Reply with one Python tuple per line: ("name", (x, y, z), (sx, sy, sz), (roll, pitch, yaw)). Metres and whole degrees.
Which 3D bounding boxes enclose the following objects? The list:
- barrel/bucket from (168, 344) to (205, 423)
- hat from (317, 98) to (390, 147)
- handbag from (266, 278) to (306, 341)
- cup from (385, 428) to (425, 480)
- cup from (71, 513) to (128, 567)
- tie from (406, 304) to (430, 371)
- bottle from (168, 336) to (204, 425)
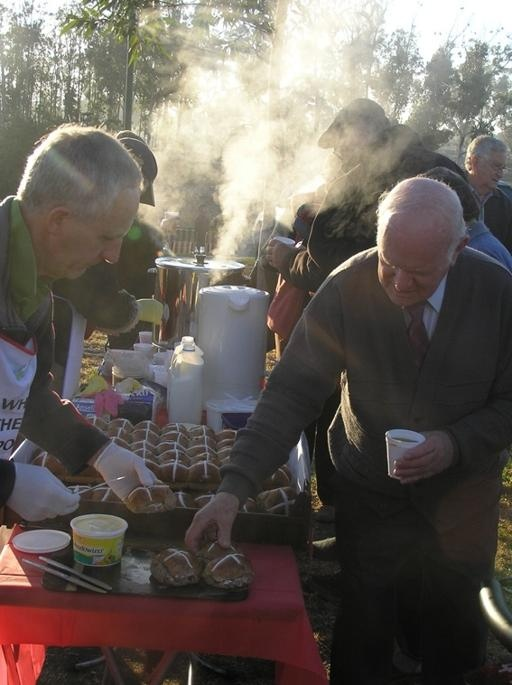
("barrel/bucket", (-0.312, 0.181, 2.548), (0.134, 0.373, 0.131), (1, 6, 0))
("hat", (0.491, -1.101, 2.858), (0.371, 0.132, 0.268), (-28, 36, 13))
("handbag", (0.180, -0.234, 3.936), (0.230, 0.426, 0.235), (-4, 17, -18))
("cup", (0.404, 0.286, 1.614), (0.133, 0.138, 0.108), (-6, 17, -20))
("cup", (-0.365, 0.465, 1.435), (0.141, 0.104, 0.197), (-3, 8, -10))
("tie", (0.498, -0.023, 1.776), (0.056, 0.206, 0.010), (0, 2, 11))
("bottle", (-0.305, 0.187, 2.543), (0.123, 0.420, 0.147), (4, 8, -1))
